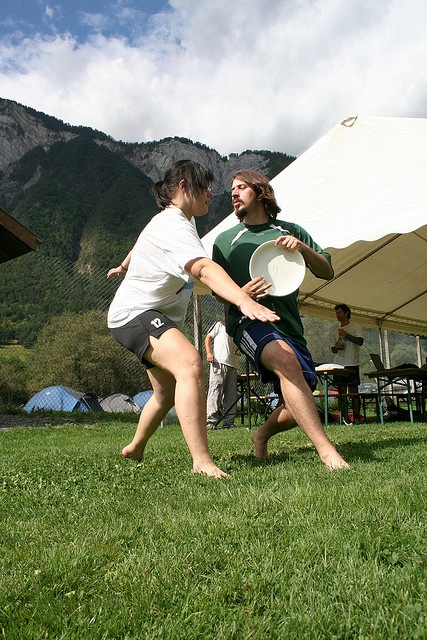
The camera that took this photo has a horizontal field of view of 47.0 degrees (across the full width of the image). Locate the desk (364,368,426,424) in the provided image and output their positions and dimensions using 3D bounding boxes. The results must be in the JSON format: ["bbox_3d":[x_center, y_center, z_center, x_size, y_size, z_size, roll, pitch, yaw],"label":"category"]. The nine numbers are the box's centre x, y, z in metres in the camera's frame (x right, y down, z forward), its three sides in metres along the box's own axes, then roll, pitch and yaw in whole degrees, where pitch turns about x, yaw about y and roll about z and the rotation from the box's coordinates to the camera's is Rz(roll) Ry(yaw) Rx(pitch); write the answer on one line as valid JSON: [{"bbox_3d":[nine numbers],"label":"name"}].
[{"bbox_3d":[3.224,1.269,8.563,0.974,0.862,3.016,-3,-6,17],"label":"desk"}]

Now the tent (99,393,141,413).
[{"bbox_3d":[-2.497,2.185,12.756,0.772,0.271,0.595,2,-2,34],"label":"tent"}]

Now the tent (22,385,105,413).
[{"bbox_3d":[-3.842,2.046,12.482,1.275,0.423,0.906,-2,-5,27],"label":"tent"}]

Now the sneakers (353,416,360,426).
[{"bbox_3d":[2.504,1.753,8.608,0.122,0.194,0.200,0,-14,1],"label":"sneakers"}]
